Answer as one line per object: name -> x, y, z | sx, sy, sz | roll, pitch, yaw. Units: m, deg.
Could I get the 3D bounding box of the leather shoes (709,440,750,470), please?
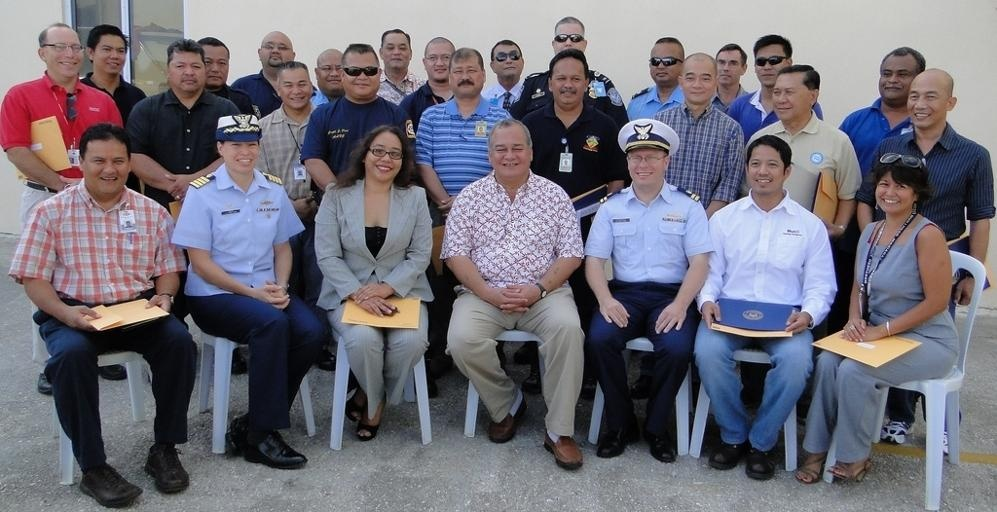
leather shoes -> 1.926, 1.606, 5.994 | 0.412, 0.144, 0.148 | 1, 14, -42

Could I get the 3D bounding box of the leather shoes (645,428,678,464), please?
leather shoes -> 1.347, 1.553, 6.031 | 0.156, 0.121, 0.321 | -5, 13, -16

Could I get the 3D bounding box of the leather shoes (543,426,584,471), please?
leather shoes -> 0.500, 1.560, 5.979 | 0.200, 0.143, 0.373 | -12, 21, -35

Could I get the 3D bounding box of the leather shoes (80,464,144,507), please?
leather shoes -> -2.929, 1.712, 5.563 | 0.563, 0.209, 0.221 | 11, 32, 14

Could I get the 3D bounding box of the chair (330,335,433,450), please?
chair -> -1.036, 1.124, 6.481 | 1.056, 0.771, 0.955 | -1, 4, -12

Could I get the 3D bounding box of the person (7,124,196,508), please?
person -> -3.011, 0.396, 5.704 | 1.158, 2.738, 1.210 | -9, 19, -33

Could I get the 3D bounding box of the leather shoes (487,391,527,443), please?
leather shoes -> 0.116, 1.377, 6.293 | 0.236, 0.213, 0.473 | 9, 53, 25

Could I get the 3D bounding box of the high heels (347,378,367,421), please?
high heels -> -1.222, 1.240, 6.328 | 0.173, 0.376, 0.103 | -10, -2, 15

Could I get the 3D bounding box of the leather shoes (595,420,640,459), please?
leather shoes -> 0.980, 1.499, 6.083 | 0.302, 0.234, 0.280 | 5, 15, 14

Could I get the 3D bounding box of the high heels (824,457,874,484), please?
high heels -> 2.766, 1.685, 5.805 | 0.425, 0.132, 0.137 | 2, 6, -17

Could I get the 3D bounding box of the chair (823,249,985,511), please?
chair -> 3.481, 0.926, 5.891 | 0.615, 1.843, 1.150 | 12, 18, 31

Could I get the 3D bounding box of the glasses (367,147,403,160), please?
glasses -> -0.971, -0.867, 6.277 | 0.248, 0.097, 0.044 | 0, 16, -8

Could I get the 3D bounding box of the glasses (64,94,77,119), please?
glasses -> -3.997, -1.377, 6.863 | 0.095, 0.218, 0.098 | 3, -11, -8

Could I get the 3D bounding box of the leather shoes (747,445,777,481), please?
leather shoes -> 2.091, 1.653, 5.886 | 0.162, 0.135, 0.366 | 2, 5, 20

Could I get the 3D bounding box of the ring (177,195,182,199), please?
ring -> -2.934, -0.536, 6.740 | 0.044, 0.011, 0.036 | -2, -18, -16

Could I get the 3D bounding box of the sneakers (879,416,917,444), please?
sneakers -> 3.337, 1.448, 6.202 | 0.148, 0.134, 0.344 | 5, 9, 32

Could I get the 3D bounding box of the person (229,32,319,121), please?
person -> -2.455, -2.004, 8.227 | 1.381, 0.922, 0.613 | 1, 13, -6

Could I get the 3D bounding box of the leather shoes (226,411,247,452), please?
leather shoes -> -2.129, 1.422, 5.958 | 0.127, 0.291, 0.158 | 17, -18, -38

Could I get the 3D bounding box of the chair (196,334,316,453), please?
chair -> -2.129, 1.107, 6.333 | 1.226, 0.822, 1.021 | 2, 11, 7

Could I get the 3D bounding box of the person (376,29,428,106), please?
person -> -1.183, -2.072, 8.160 | 1.022, 0.695, 0.463 | -2, 10, -15
